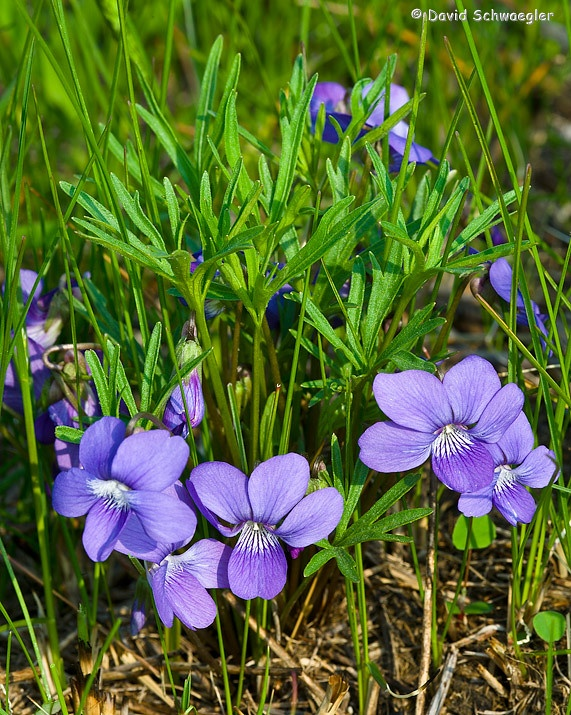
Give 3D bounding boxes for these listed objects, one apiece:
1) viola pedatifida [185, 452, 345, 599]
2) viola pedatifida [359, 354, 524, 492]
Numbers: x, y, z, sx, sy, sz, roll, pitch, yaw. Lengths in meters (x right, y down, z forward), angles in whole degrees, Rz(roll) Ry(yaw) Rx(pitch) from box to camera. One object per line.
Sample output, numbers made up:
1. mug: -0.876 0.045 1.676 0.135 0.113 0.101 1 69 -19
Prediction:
1. viola pedatifida: -0.046 0.303 1.396 0.261 0.102 0.348 2 94 -1
2. viola pedatifida: 0.281 0.109 1.322 0.231 0.078 0.302 -10 91 -18
